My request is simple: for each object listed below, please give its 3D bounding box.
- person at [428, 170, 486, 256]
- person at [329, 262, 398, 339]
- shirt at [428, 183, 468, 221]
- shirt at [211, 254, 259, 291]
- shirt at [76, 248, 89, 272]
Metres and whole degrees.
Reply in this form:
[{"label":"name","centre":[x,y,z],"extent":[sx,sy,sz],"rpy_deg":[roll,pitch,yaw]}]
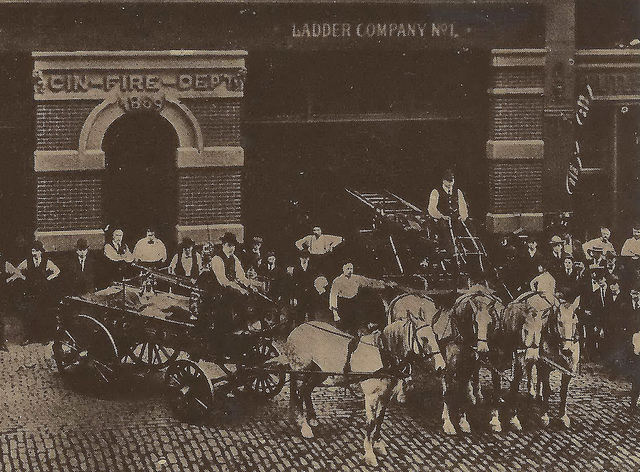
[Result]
[{"label":"person","centre":[1.498,-0.215,13.174],"extent":[0.489,1.104,0.613],"rpy_deg":[-13,-25,-2]},{"label":"person","centre":[0.458,0.744,12.924],"extent":[0.821,0.897,0.198],"rpy_deg":[2,-17,-8]},{"label":"shirt","centre":[1.446,-0.383,13.141],"extent":[0.460,0.399,0.051],"rpy_deg":[-1,4,-13]},{"label":"shirt","centre":[-0.943,0.391,12.868],"extent":[0.508,0.368,0.112],"rpy_deg":[-1,4,-6]},{"label":"shirt","centre":[-2.603,0.255,12.768],"extent":[0.117,0.225,0.039],"rpy_deg":[0,4,-3]}]
